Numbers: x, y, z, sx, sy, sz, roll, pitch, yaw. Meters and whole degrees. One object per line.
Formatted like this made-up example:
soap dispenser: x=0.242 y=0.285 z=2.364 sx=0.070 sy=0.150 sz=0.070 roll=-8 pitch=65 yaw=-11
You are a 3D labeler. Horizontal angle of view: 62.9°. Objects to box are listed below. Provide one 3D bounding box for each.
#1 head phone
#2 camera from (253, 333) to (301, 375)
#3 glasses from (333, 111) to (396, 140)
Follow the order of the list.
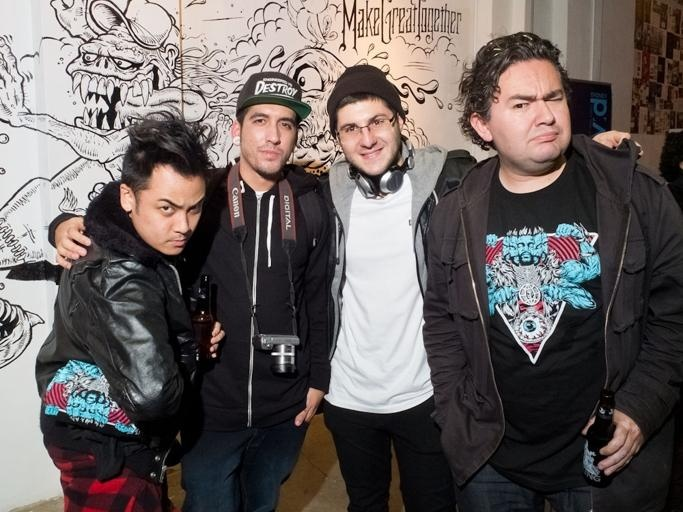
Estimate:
head phone: x=0.243 y=-0.508 z=3.081 sx=0.333 sy=0.403 sz=0.139 roll=-6 pitch=-29 yaw=40
camera: x=-0.301 y=0.496 z=2.934 sx=0.213 sy=0.210 sz=0.136 roll=1 pitch=8 yaw=13
glasses: x=0.138 y=-0.689 z=2.966 sx=0.306 sy=0.095 sz=0.071 roll=-3 pitch=7 yaw=2
